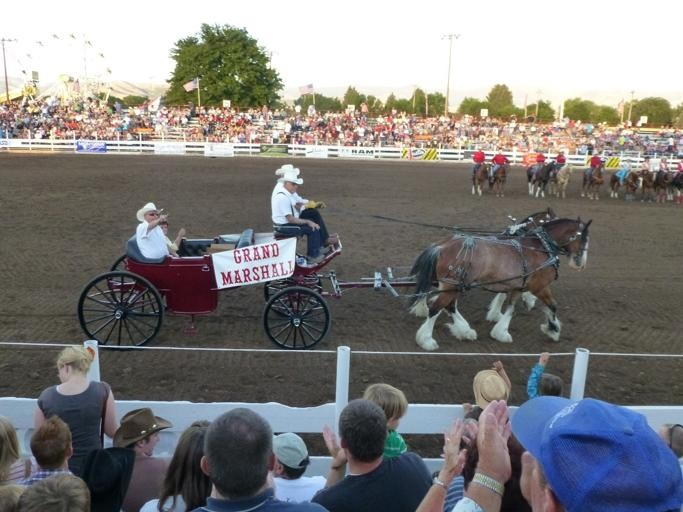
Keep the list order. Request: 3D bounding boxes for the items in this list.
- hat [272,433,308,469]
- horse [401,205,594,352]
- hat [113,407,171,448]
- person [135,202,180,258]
[{"bbox_3d":[-0.701,2.671,13.402,0.473,0.466,0.282,1,12,-4],"label":"hat"},{"bbox_3d":[3.329,0.489,18.177,4.226,2.468,3.178,15,12,0],"label":"horse"},{"bbox_3d":[-2.877,2.415,13.806,0.775,0.498,0.380,-5,14,-30],"label":"hat"},{"bbox_3d":[-3.475,-0.445,17.564,0.871,0.968,0.702,9,20,7],"label":"person"}]
